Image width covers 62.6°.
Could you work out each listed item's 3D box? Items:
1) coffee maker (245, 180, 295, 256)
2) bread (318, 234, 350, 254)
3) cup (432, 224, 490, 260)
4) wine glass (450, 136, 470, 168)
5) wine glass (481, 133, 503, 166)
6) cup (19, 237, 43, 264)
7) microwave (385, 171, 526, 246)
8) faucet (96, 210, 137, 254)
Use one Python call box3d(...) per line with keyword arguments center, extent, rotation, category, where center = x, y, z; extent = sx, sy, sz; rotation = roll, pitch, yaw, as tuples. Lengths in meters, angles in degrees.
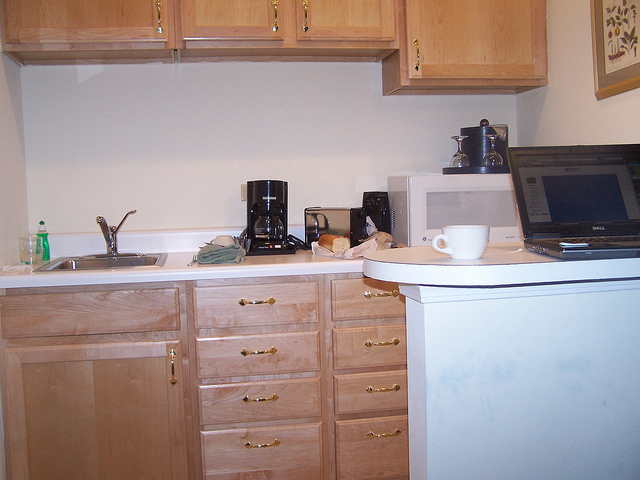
box3d(center=(-0.259, -0.107, 2.559), extent=(0.253, 0.349, 0.269), rotation=(-2, 8, -17), category="coffee maker")
box3d(center=(0.068, 0.015, 2.486), extent=(0.108, 0.077, 0.242), rotation=(-6, 3, -21), category="bread")
box3d(center=(0.418, -0.016, 1.589), extent=(0.130, 0.078, 0.106), rotation=(-1, 8, -1), category="cup")
box3d(center=(0.681, -0.424, 2.579), extent=(0.095, 0.163, 0.097), rotation=(-11, 11, -34), category="wine glass")
box3d(center=(0.820, -0.432, 2.517), extent=(0.097, 0.155, 0.038), rotation=(-4, 3, 14), category="wine glass")
box3d(center=(-1.319, 0.045, 2.413), extent=(0.110, 0.127, 0.106), rotation=(1, 7, 0), category="cup")
box3d(center=(0.613, -0.164, 2.378), extent=(0.499, 0.331, 0.351), rotation=(-2, 4, -10), category="microwave")
box3d(center=(-1.001, -0.032, 2.615), extent=(0.141, 0.187, 0.211), rotation=(-5, 3, -4), category="faucet")
